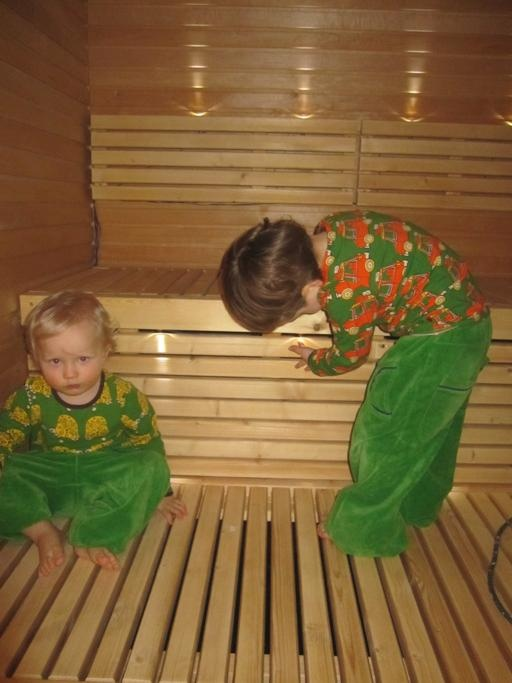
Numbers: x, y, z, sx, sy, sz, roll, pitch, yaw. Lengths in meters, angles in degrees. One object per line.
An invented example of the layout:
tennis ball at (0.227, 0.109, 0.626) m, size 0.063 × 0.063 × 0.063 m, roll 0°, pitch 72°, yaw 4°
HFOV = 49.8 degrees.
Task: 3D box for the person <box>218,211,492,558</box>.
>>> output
person at (0.276, 0.153, 1.575) m, size 0.779 × 0.989 × 0.308 m, roll 2°, pitch 24°, yaw -4°
